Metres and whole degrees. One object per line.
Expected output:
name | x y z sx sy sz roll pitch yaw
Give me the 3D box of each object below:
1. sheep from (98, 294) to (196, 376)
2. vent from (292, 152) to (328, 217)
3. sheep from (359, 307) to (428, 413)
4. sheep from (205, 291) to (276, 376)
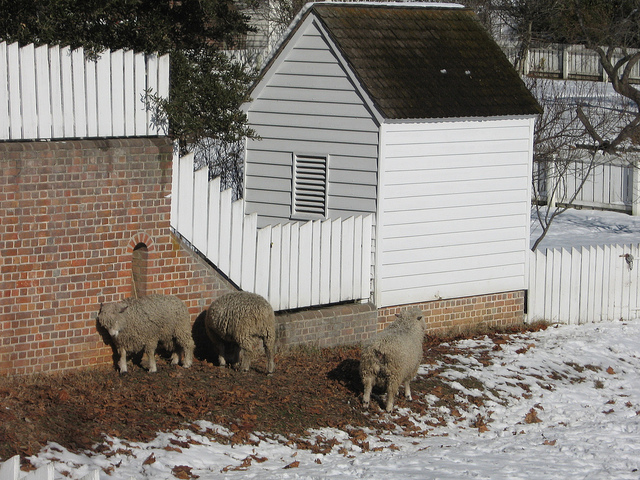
sheep | -3.201 1.691 26.324 1.790 1.549 0.840 -6 9 -41
vent | -0.190 -1.258 29.752 0.986 1.803 0.127 6 8 32
sheep | 1.465 2.193 26.513 0.833 1.780 2.052 6 11 28
sheep | -1.493 1.749 26.526 1.257 1.578 0.733 0 4 7
